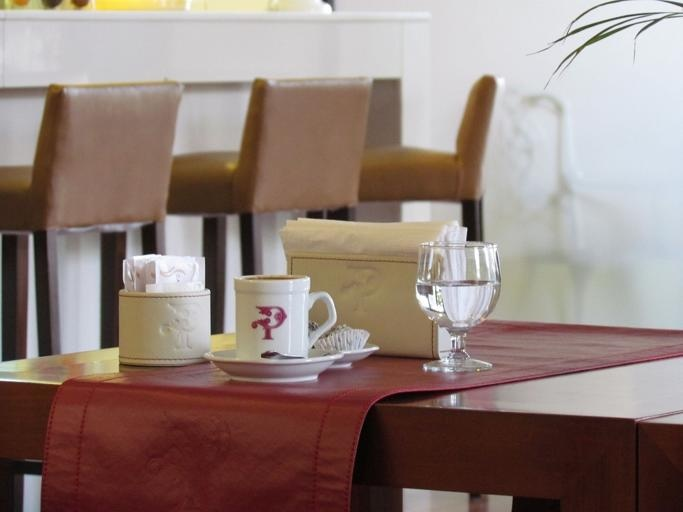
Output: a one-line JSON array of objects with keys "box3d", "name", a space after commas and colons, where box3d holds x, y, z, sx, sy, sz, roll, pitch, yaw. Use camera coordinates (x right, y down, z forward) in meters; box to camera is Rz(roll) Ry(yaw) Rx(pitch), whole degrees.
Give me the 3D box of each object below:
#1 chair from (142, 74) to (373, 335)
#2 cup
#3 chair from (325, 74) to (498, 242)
[{"box3d": [-0.215, -0.150, 2.233, 0.435, 0.745, 0.451, -12, 18, -43], "name": "chair"}, {"box3d": [-0.063, 0.075, 0.845, 0.099, 0.099, 0.066, 1, -1, -13], "name": "cup"}, {"box3d": [0.243, -0.295, 2.492, 0.455, 0.608, 0.415, -2, 13, -5], "name": "chair"}]
